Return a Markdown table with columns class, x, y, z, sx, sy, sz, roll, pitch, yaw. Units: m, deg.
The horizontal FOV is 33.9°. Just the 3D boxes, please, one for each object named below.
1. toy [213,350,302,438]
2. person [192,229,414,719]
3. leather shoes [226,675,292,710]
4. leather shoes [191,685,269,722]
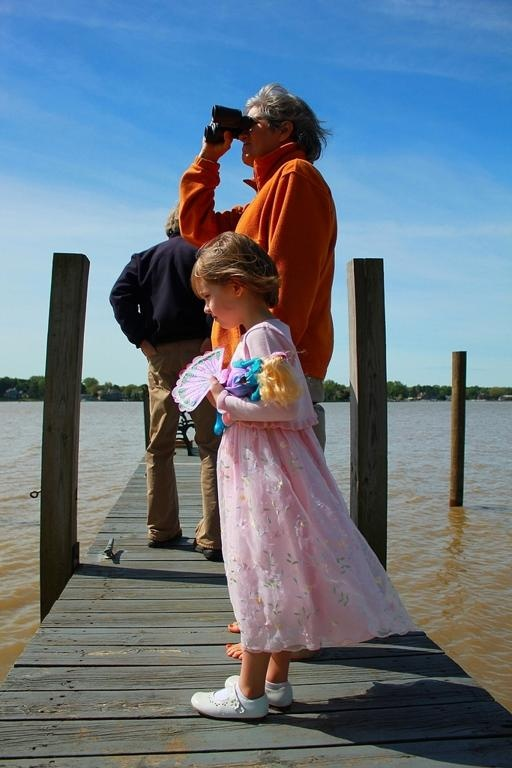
| class | x | y | z | sx | sy | sz | roll | pitch | yaw |
| --- | --- | --- | --- | --- | --- | --- | --- | --- | --- |
| toy | -0.016 | -0.014 | 2.480 | 0.115 | 0.208 | 0.298 | 5 | -1 | -41 |
| person | 0.119 | 0.266 | 2.507 | 0.729 | 1.395 | 0.367 | 5 | -1 | -4 |
| leather shoes | 0.008 | 0.915 | 2.498 | 0.241 | 0.090 | 0.077 | 2 | -6 | 8 |
| leather shoes | -0.085 | 0.929 | 2.416 | 0.220 | 0.081 | 0.095 | 1 | -14 | 15 |
